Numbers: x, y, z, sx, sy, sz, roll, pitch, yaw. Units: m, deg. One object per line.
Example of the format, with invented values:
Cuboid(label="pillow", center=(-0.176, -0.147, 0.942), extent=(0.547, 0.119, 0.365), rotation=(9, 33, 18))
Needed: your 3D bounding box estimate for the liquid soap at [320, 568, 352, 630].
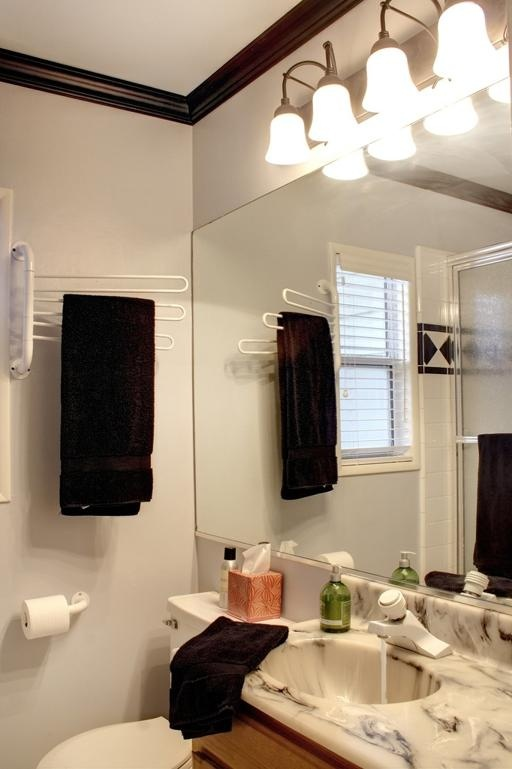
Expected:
Cuboid(label="liquid soap", center=(0.173, 0.467, 1.279), extent=(0.081, 0.124, 0.073), rotation=(-8, -7, -4))

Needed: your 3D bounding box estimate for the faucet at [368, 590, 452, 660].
Cuboid(label="faucet", center=(0.283, 0.432, 1.094), extent=(0.121, 0.101, 0.123), rotation=(12, 17, 44))

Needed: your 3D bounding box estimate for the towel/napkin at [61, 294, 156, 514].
Cuboid(label="towel/napkin", center=(-0.421, 0.043, 1.692), extent=(0.312, 0.605, 0.067), rotation=(-4, -8, -33))

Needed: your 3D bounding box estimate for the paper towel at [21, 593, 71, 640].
Cuboid(label="paper towel", center=(-0.573, 0.622, 1.631), extent=(0.138, 0.124, 0.110), rotation=(7, -24, -39))
